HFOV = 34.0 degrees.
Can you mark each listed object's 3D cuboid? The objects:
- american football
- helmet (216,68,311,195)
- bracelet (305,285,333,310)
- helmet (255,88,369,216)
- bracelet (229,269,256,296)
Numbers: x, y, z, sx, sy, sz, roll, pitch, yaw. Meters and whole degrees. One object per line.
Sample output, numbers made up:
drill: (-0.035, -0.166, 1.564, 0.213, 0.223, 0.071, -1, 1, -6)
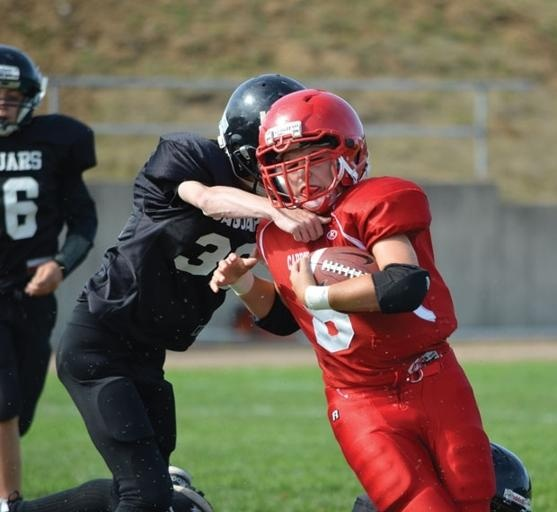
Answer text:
american football: (0.217, 0.036, 3.252, 0.246, 0.115, 0.122, 4, 32, 24)
helmet: (-0.094, -0.523, 3.803, 0.473, 0.471, 0.461, 3, 47, 7)
bracelet: (0.135, 0.150, 3.196, 0.082, 0.082, 0.077, 2, 17, -15)
helmet: (0.120, -0.392, 3.375, 0.451, 0.366, 0.548, -12, 2, 25)
bracelet: (-0.144, 0.106, 3.582, 0.099, 0.082, 0.079, -12, 36, 24)
